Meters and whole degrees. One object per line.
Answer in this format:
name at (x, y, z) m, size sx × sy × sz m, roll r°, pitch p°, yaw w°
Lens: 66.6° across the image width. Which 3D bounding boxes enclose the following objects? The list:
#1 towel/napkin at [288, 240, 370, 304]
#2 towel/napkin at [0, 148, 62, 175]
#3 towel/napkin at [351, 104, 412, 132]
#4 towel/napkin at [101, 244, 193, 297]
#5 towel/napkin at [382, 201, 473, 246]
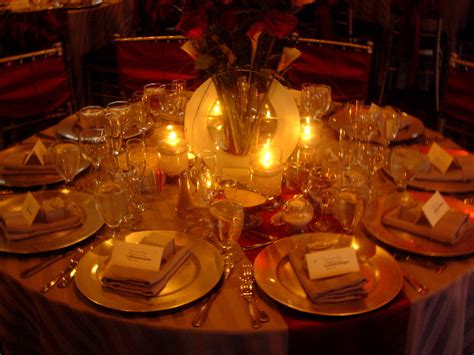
towel/napkin at (0.257, 0.261, 1.041) m, size 0.178 × 0.097 × 0.201 m, roll -1°, pitch 24°, yaw -10°
towel/napkin at (-0.910, -0.053, 1.580) m, size 0.150 × 0.041 × 0.167 m, roll 2°, pitch 13°, yaw -6°
towel/napkin at (0.653, -0.268, 1.604) m, size 0.223 × 0.067 × 0.227 m, roll -8°, pitch 21°, yaw -39°
towel/napkin at (-0.250, 0.273, 1.035) m, size 0.113 × 0.040 × 0.138 m, roll 8°, pitch 22°, yaw 21°
towel/napkin at (0.633, 0.158, 1.235) m, size 0.161 × 0.043 × 0.172 m, roll 11°, pitch 23°, yaw 31°
